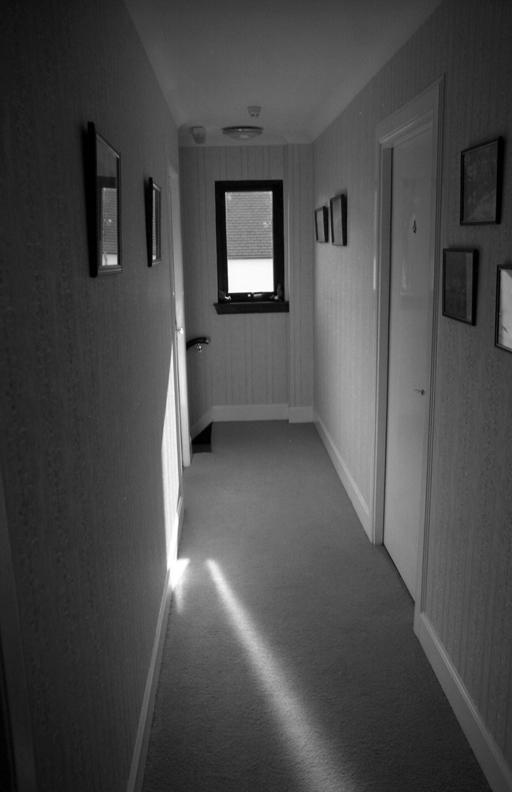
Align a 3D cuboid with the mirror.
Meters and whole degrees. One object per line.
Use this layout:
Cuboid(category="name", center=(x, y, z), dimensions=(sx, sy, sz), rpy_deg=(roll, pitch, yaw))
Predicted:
Cuboid(category="mirror", center=(-0.098, -1.736, 5.643), dimensions=(0.658, 2.090, 0.129), rpy_deg=(-1, 11, -4))
